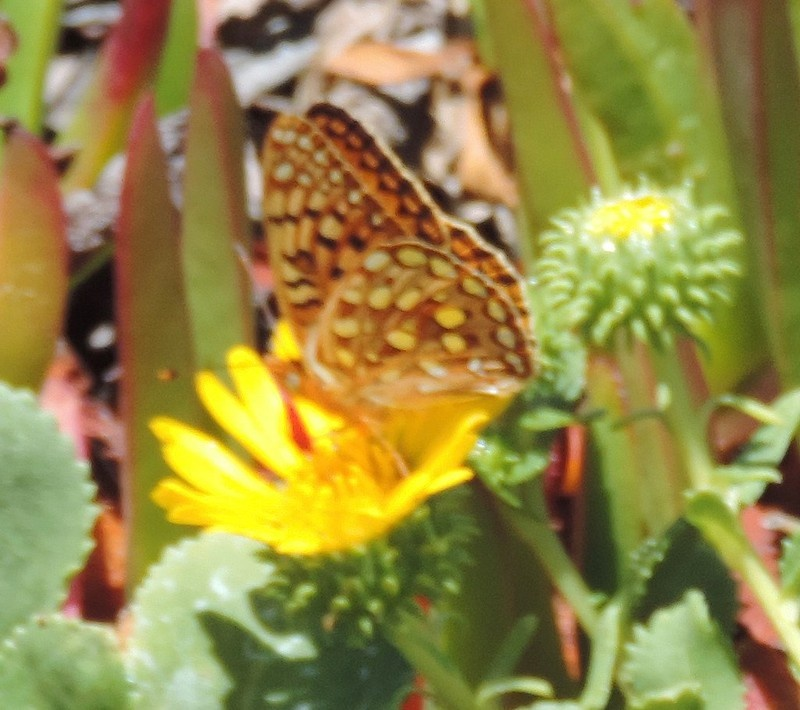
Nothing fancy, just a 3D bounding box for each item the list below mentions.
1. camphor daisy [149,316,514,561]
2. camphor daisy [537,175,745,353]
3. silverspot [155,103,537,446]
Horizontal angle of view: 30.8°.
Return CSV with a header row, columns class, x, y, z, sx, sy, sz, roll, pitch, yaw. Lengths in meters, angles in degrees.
class,x,y,z,sx,sy,sz,roll,pitch,yaw
camphor daisy,-0.064,0.070,0.799,0.156,0.072,0.154,-8,32,-15
camphor daisy,0.133,-0.048,0.807,0.114,0.072,0.107,11,27,11
silverspot,-0.040,-0.040,0.879,0.186,0.153,0.193,5,-3,-5
